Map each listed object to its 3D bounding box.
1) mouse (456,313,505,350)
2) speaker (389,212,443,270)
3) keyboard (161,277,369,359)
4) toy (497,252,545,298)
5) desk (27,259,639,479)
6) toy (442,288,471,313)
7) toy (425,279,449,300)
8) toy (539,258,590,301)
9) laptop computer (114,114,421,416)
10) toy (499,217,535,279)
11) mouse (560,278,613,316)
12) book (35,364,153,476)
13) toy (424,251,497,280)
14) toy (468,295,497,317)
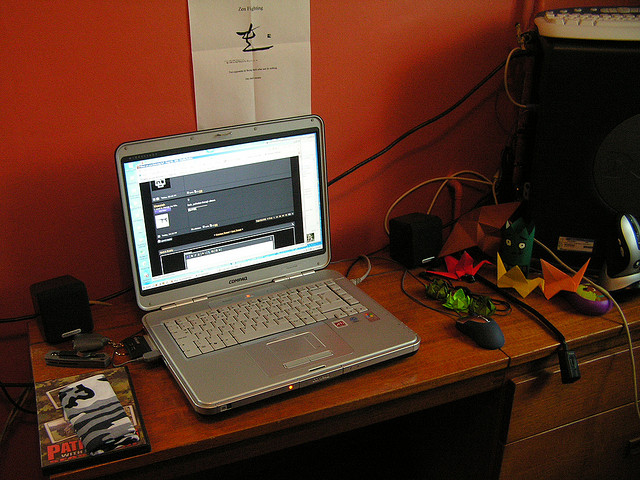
[{"bbox_3d":[0.350,0.188,1.205,0.071,0.040,0.125,-11,19,-27],"label":"mouse"},{"bbox_3d":[0.258,0.002,1.486,0.150,0.114,0.148,-2,14,7],"label":"speaker"},{"bbox_3d":[-0.119,0.165,1.215,0.426,0.064,0.144,-15,15,-18],"label":"keyboard"},{"bbox_3d":[0.467,0.089,1.326,0.101,0.083,0.092,-12,24,-10],"label":"toy"},{"bbox_3d":[0.204,0.440,1.240,1.139,0.592,0.272,-15,15,-17],"label":"desk"},{"bbox_3d":[0.321,0.145,1.280,0.042,0.026,0.049,0,42,20],"label":"toy"},{"bbox_3d":[0.288,0.116,1.321,0.038,0.029,0.046,-4,21,0],"label":"toy"},{"bbox_3d":[0.548,0.094,1.242,0.109,0.091,0.100,3,26,27],"label":"toy"},{"bbox_3d":[-0.112,0.016,1.154,0.528,0.403,0.454,-11,28,-25],"label":"laptop computer"},{"bbox_3d":[0.498,0.017,1.376,0.069,0.148,0.063,8,21,30],"label":"toy"},{"bbox_3d":[0.616,0.125,1.252,0.056,0.026,0.090,-17,30,-12],"label":"mouse"},{"bbox_3d":[-0.424,0.326,1.019,0.174,0.103,0.237,-16,16,-22],"label":"book"},{"bbox_3d":[0.355,0.068,1.409,0.104,0.086,0.041,-9,22,20],"label":"toy"},{"bbox_3d":[0.374,0.153,1.263,0.040,0.025,0.054,-26,30,-34],"label":"toy"}]
